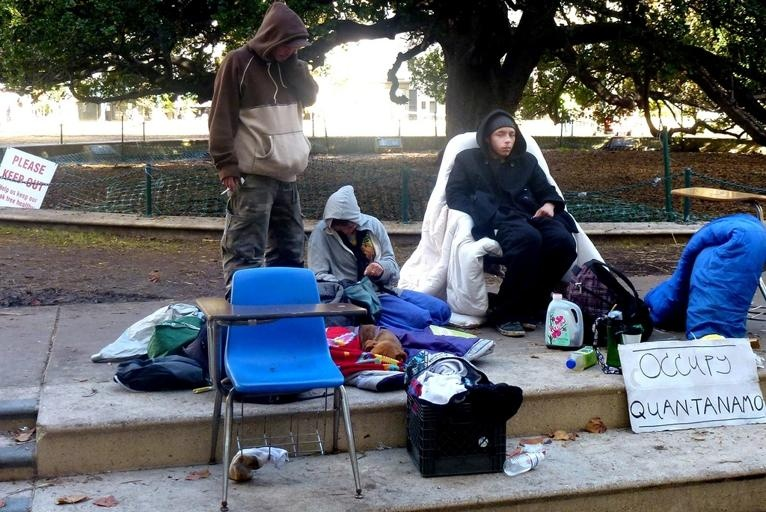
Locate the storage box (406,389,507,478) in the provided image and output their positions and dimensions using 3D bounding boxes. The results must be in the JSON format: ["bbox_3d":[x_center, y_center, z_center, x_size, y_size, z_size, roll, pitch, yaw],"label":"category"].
[{"bbox_3d":[0.503,1.221,4.969,0.521,0.271,0.495,-4,-3,10],"label":"storage box"}]

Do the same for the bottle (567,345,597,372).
[{"bbox_3d":[1.630,0.845,5.729,0.155,0.150,0.345,5,9,44],"label":"bottle"}]

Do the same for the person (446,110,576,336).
[{"bbox_3d":[1.308,-0.373,7.042,1.008,2.193,1.066,-8,9,-40],"label":"person"}]

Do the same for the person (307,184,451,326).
[{"bbox_3d":[-0.100,0.037,6.658,1.456,1.270,0.947,9,16,26],"label":"person"}]

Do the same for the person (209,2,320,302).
[{"bbox_3d":[-1.021,-0.786,6.007,0.935,2.111,0.459,-5,8,-24],"label":"person"}]

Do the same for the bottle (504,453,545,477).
[{"bbox_3d":[0.961,1.458,4.895,0.330,0.097,0.150,-6,7,-35],"label":"bottle"}]

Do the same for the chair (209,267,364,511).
[{"bbox_3d":[-0.718,0.834,4.803,0.999,1.458,0.838,-4,7,-15],"label":"chair"}]
